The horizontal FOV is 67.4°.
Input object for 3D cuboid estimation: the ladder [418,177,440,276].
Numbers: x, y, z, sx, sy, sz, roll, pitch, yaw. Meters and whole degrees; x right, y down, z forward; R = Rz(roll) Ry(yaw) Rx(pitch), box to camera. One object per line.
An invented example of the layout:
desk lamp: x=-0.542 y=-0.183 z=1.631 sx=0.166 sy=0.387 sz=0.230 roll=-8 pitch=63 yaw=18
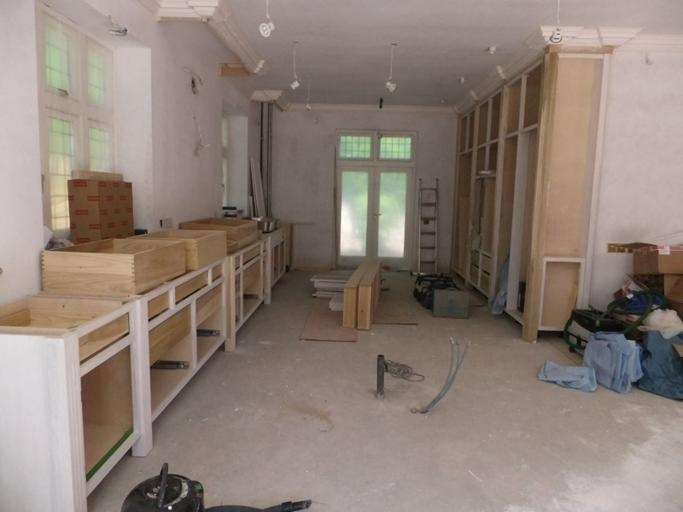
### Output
ladder: x=1.733 y=-0.586 z=10.272 sx=0.443 sy=1.863 sz=0.261 roll=1 pitch=9 yaw=5

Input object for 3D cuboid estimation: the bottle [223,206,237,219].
bottle: x=-1.754 y=-0.667 z=7.994 sx=0.182 sy=0.224 sz=0.334 roll=0 pitch=10 yaw=-1

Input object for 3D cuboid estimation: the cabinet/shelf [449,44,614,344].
cabinet/shelf: x=2.461 y=-0.848 z=7.329 sx=0.776 sy=3.378 sz=3.047 roll=0 pitch=8 yaw=-5

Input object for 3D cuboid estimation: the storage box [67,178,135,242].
storage box: x=-2.138 y=-0.395 z=4.486 sx=0.189 sy=0.501 sz=0.585 roll=0 pitch=5 yaw=7
